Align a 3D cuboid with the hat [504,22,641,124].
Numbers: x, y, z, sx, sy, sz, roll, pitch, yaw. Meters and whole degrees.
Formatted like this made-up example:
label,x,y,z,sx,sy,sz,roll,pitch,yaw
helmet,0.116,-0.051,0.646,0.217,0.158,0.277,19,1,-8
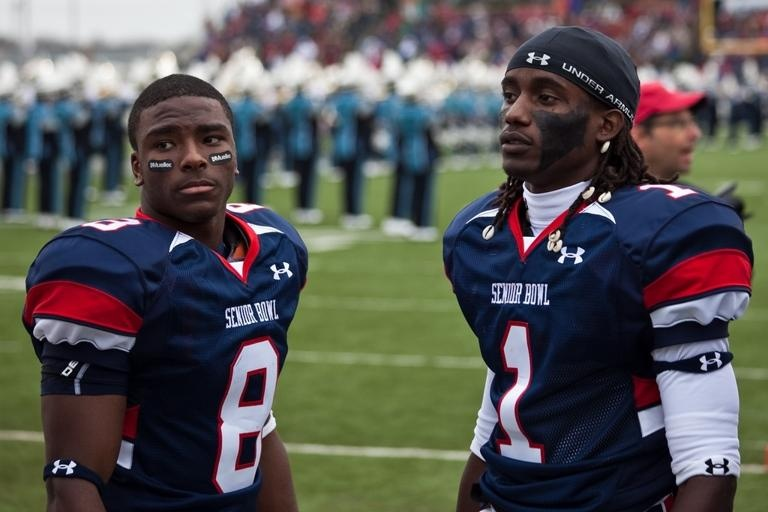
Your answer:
label,x,y,z,sx,sy,sz,roll,pitch,yaw
hat,0.607,-0.617,3.637,0.497,0.284,0.433,6,10,-31
